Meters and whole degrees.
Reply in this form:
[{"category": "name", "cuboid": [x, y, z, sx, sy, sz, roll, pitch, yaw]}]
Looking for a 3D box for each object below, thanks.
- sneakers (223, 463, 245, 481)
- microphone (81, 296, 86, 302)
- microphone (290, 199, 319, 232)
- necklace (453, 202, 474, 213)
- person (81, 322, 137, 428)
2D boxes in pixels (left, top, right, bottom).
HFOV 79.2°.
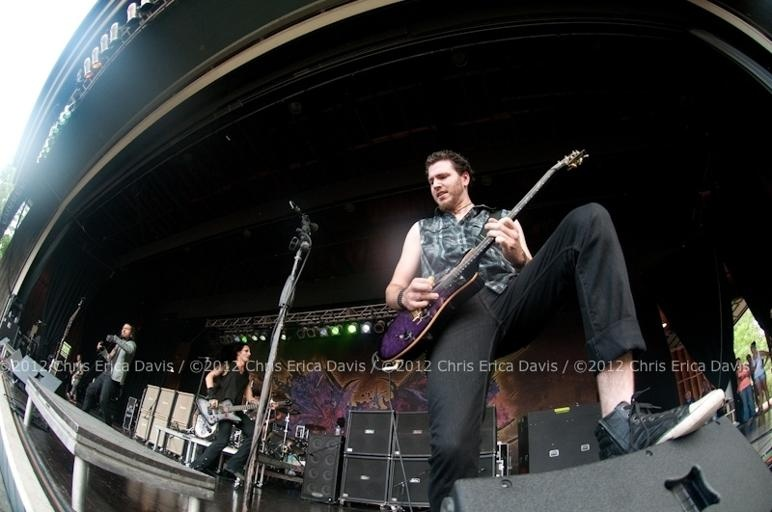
[{"category": "sneakers", "cuboid": [-2.011, 2.854, 6.141, 0.255, 0.193, 0.416, 8, -27, -15]}, {"category": "microphone", "cuboid": [-3.010, 0.433, 4.625, 0.009, 0.060, 0.041, -21, -33, 37]}, {"category": "microphone", "cuboid": [-1.041, -0.531, 5.880, 0.091, 0.653, 0.257, -41, -60, 0]}, {"category": "necklace", "cuboid": [0.583, -0.359, 3.489, 0.083, 0.045, 0.115, -10, -16, -28]}, {"category": "person", "cuboid": [-2.667, 1.066, 4.494, 0.233, 1.034, 0.616, 5, -26, -9]}]
